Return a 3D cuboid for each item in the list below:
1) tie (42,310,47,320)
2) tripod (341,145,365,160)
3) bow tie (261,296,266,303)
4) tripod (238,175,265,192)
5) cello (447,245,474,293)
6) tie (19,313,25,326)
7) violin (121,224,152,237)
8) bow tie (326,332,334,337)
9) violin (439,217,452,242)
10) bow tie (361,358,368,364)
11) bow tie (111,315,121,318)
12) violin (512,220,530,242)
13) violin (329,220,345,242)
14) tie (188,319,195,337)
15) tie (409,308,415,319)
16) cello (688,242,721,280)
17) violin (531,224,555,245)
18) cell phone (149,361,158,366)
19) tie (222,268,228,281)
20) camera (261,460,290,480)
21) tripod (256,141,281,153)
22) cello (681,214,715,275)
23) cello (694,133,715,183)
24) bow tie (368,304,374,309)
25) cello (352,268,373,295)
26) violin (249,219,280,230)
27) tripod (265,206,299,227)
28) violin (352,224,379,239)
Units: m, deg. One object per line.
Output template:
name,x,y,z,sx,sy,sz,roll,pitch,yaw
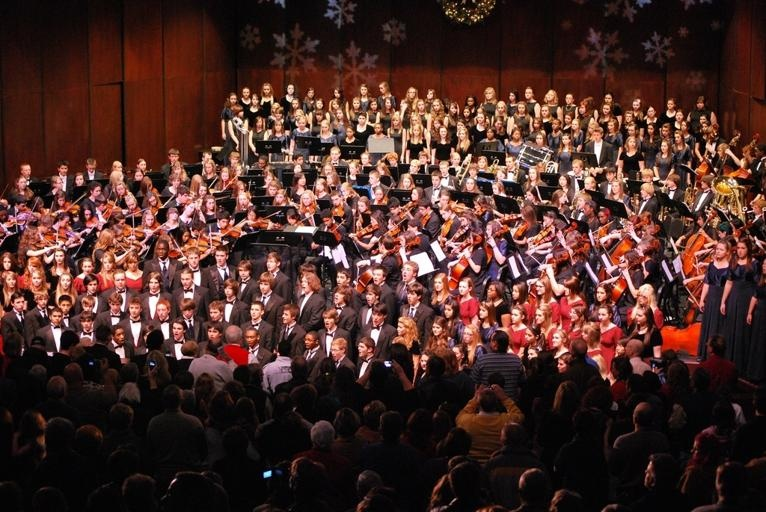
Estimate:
tie,-4.913,0.865,10.811,0.066,0.097,0.023,1,-8,-6
tripod,-0.675,-2.251,16.223,0.364,0.268,0.109,4,28,6
bow tie,-1.822,0.662,11.280,0.068,0.094,0.027,-11,-32,5
tripod,-2.642,-1.474,15.141,0.472,0.319,0.116,3,4,2
cello,1.264,0.140,12.335,0.228,0.988,0.401,27,42,-1
tie,-5.253,0.911,10.831,0.081,0.119,0.028,1,-21,-16
violin,-4.379,-0.448,13.287,0.434,0.113,0.210,-1,32,-25
bow tie,-0.739,1.072,10.233,0.128,0.063,0.024,0,5,30
violin,1.068,-0.458,12.996,0.218,0.371,0.098,8,-24,26
bow tie,-0.258,1.397,9.954,0.088,0.048,0.056,2,-1,-3
bow tie,-3.833,0.860,10.678,0.124,0.023,0.031,-1,-12,-10
violin,2.374,-0.426,12.968,0.102,0.383,0.220,33,9,-19
violin,-0.809,-0.441,12.940,0.205,0.369,0.099,-29,1,7
tie,-2.706,1.024,10.490,0.134,0.197,0.046,-3,-8,3
tie,0.389,0.827,10.765,0.083,0.120,0.030,-9,-20,28
cello,5.157,0.090,12.089,0.205,0.788,0.385,15,-1,0
violin,2.672,-0.349,12.532,0.439,0.249,0.104,-32,-20,6
cell phone,-2.546,1.184,8.223,0.073,0.058,0.050,-4,-9,14
tie,-2.549,0.295,12.023,0.039,0.158,0.156,2,7,30
camera,-0.945,1.876,6.523,0.148,0.078,0.214,-5,-5,34
tripod,-2.589,-2.469,16.803,0.294,0.101,0.205,3,-40,4
cello,5.161,-0.092,12.428,0.565,1.186,0.614,13,33,26
cello,6.999,-2.142,16.291,0.486,1.395,0.741,-2,7,15
bow tie,-0.180,0.717,10.630,0.064,0.050,0.065,1,4,5
cello,-0.340,0.428,12.163,0.106,0.418,0.260,27,28,-16
violin,-2.068,-0.543,13.124,0.467,0.113,0.241,6,12,32
tripod,-1.794,-0.705,13.305,0.332,0.162,0.615,1,6,9
violin,-0.307,-0.424,13.094,0.455,0.110,0.225,-20,12,15
